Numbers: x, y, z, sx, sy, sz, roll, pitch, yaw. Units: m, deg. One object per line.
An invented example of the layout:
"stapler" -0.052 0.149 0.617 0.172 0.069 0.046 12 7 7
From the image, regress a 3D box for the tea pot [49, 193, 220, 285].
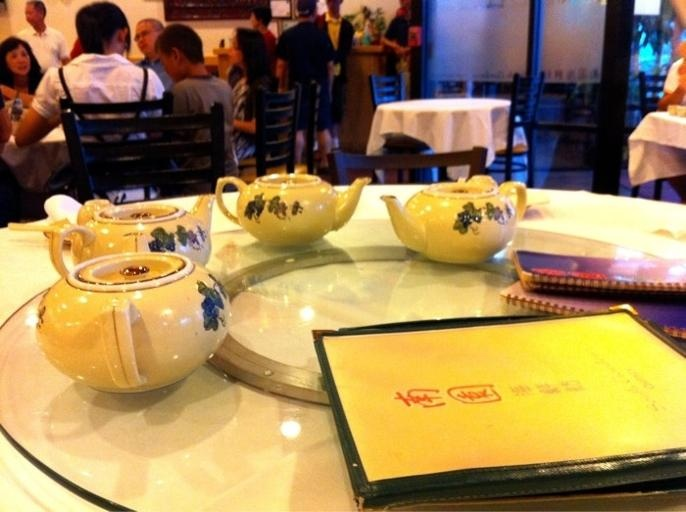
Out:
"tea pot" -0.271 -0.020 0.727 0.173 0.091 0.226 14 21 39

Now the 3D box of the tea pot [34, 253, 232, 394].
"tea pot" -0.197 0.061 0.518 0.140 0.109 0.138 0 22 0
